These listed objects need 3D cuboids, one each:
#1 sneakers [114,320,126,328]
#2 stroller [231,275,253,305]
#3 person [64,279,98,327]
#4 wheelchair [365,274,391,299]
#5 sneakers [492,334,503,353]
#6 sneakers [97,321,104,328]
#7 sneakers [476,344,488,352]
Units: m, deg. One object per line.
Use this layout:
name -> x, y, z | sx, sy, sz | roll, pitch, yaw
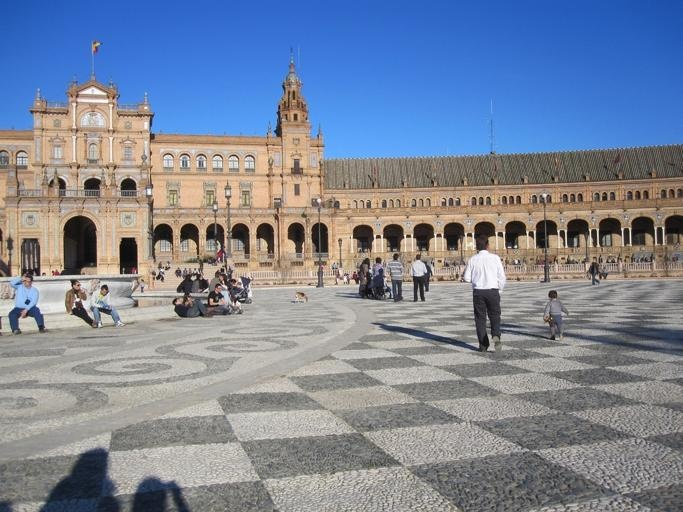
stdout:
sneakers -> -5.313, 1.628, 16.790 | 0.278, 0.128, 0.094 | -3, -1, 45
stroller -> -3.217, 1.092, 24.050 | 0.706, 1.083, 1.062 | -2, -6, 18
person -> -6.197, 1.116, 16.700 | 0.710, 1.076, 0.635 | -2, 8, -6
wheelchair -> 1.357, 1.225, 26.334 | 0.607, 0.718, 1.210 | 2, 5, 18
sneakers -> 2.722, 1.509, 12.094 | 0.143, 0.282, 0.199 | -6, 6, 8
sneakers -> -5.722, 1.629, 16.601 | 0.112, 0.158, 0.374 | -1, -8, -17
sneakers -> 2.426, 1.596, 12.052 | 0.152, 0.144, 0.106 | 5, -11, -11
